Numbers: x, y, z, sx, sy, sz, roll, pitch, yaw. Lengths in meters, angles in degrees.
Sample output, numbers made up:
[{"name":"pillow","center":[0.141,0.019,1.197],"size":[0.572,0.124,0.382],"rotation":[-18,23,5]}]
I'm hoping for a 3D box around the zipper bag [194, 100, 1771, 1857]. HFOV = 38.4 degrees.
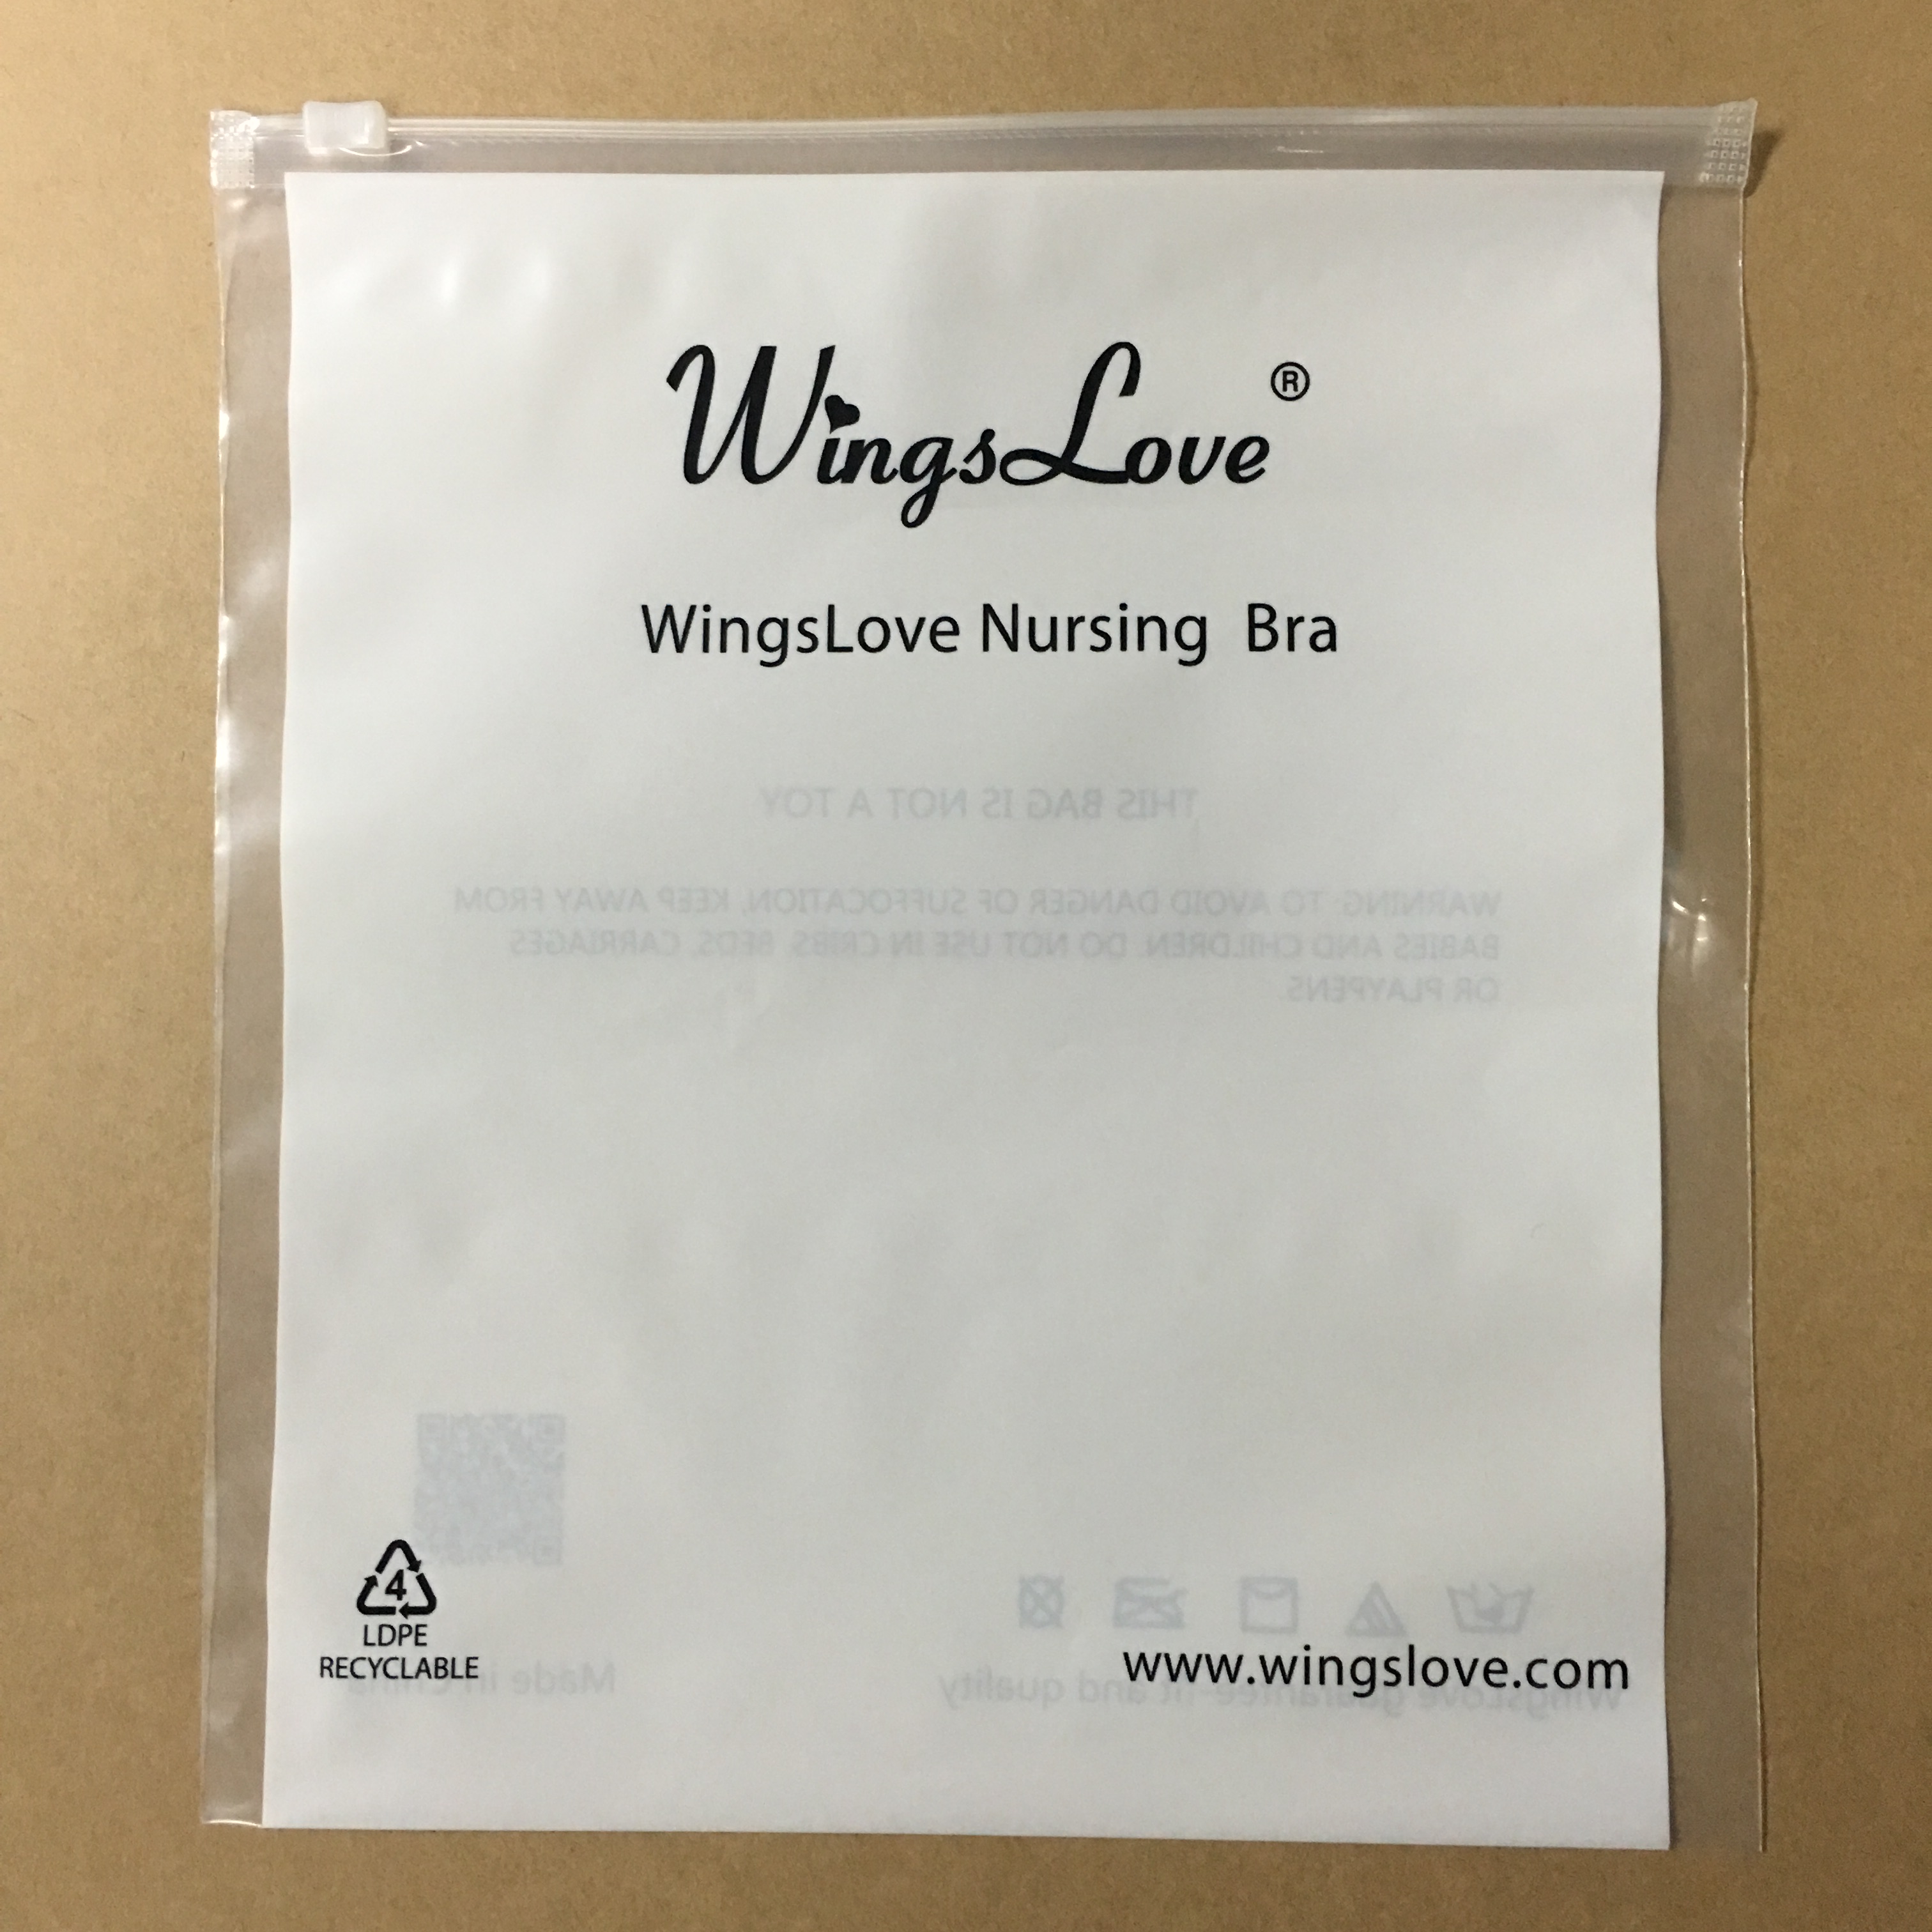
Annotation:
[{"name":"zipper bag","center":[0.018,0.026,0.860],"size":[0.711,0.069,0.556],"rotation":[0,91,3]}]
